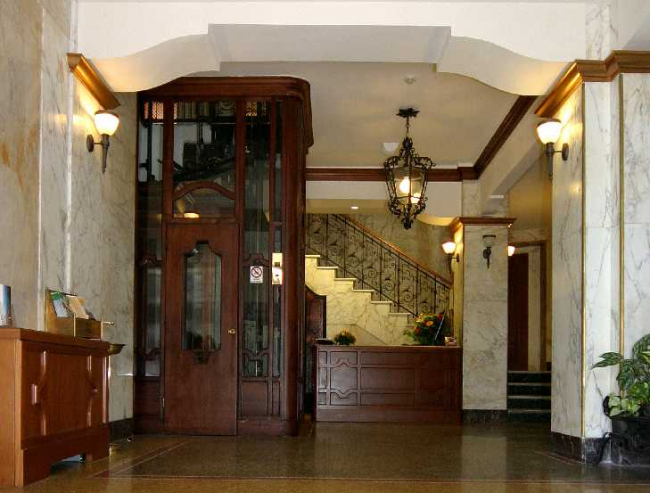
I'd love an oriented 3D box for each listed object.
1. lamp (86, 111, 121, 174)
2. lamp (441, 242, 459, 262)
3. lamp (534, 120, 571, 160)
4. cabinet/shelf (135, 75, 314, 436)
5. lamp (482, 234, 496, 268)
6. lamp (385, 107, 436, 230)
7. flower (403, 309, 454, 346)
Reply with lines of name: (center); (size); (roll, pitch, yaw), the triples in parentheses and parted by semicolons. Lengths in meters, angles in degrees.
lamp: (-2.233, -1.077, 8.699); (0.291, 0.614, 0.578); (0, 5, -3)
lamp: (1.986, 0.099, 13.344); (0.291, 0.268, 0.261); (16, -26, -24)
lamp: (2.308, -1.093, 8.645); (0.291, 0.432, 0.369); (1, 5, 4)
cabinet/shelf: (-1.231, 0.053, 9.851); (1.938, 4.063, 0.931); (0, 5, -4)
lamp: (2.446, 0.058, 12.677); (0.184, 0.507, 0.297); (2, 5, 13)
lamp: (1.148, -1.086, 11.646); (0.657, 1.572, 1.716); (1, 5, 5)
flower: (1.626, 1.300, 13.387); (0.848, 0.423, 0.842); (-9, -17, 35)
